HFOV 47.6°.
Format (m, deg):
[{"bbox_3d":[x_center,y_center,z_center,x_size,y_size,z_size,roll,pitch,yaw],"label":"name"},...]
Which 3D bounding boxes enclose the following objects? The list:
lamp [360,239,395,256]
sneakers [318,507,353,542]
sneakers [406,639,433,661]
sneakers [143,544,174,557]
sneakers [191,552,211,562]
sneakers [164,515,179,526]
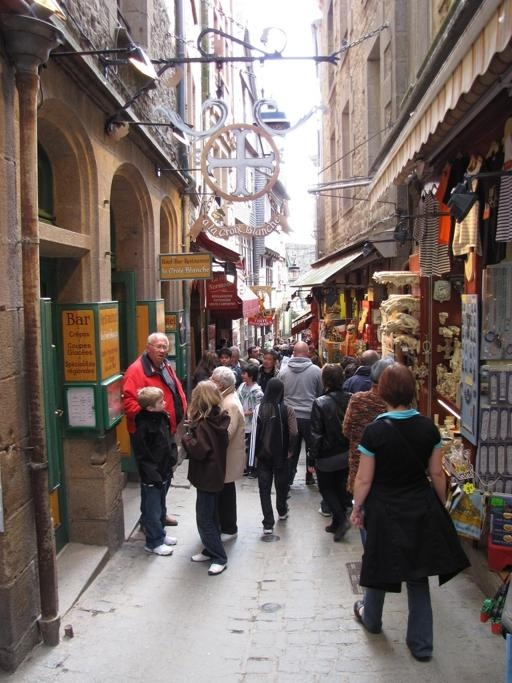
[{"bbox_3d":[1.972,-1.429,9.121,0.492,0.288,0.763,-3,1,12],"label":"lamp"},{"bbox_3d":[0.746,1.785,5.345,0.127,0.404,0.266,-14,35,-44],"label":"sneakers"},{"bbox_3d":[0.835,1.574,2.965,0.128,0.066,0.121,-3,1,23],"label":"sneakers"},{"bbox_3d":[-0.822,1.755,4.898,0.218,0.100,0.086,-4,0,20],"label":"sneakers"},{"bbox_3d":[-0.439,1.743,4.687,0.153,0.072,0.059,4,2,-3],"label":"sneakers"},{"bbox_3d":[-0.831,1.764,5.680,0.107,0.132,0.313,1,-16,-9],"label":"sneakers"}]
